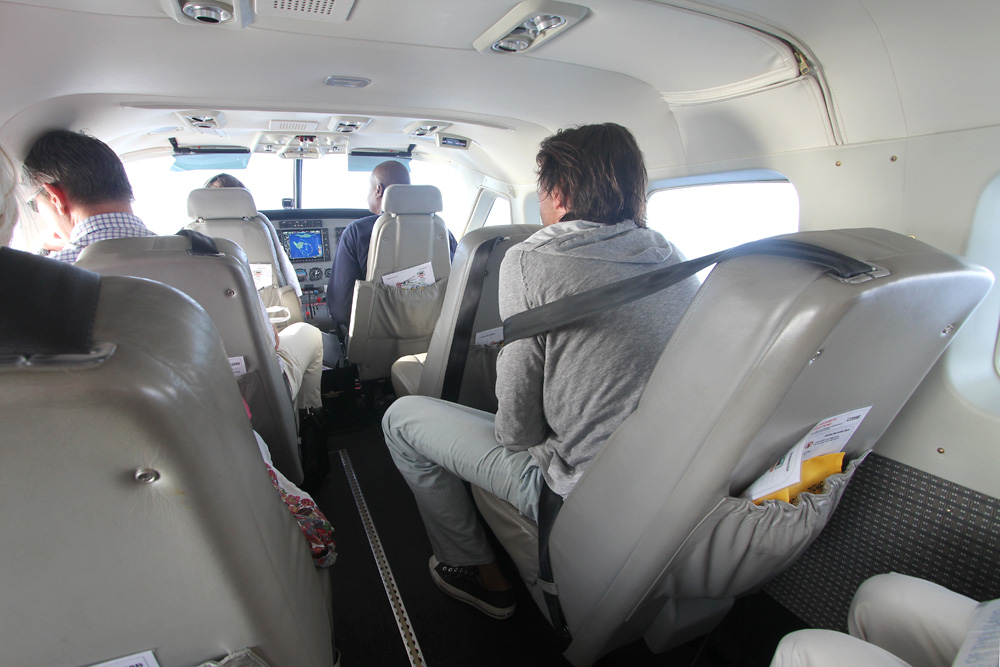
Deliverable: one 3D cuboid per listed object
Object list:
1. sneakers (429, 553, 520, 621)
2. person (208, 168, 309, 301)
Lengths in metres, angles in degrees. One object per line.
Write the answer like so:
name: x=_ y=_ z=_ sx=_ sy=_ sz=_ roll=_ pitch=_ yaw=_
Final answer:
sneakers: x=-0.100 y=1.009 z=2.658 sx=0.380 sy=0.150 sz=0.145 roll=29 pitch=23 yaw=17
person: x=-2.002 y=-0.807 z=5.066 sx=0.876 sy=0.867 sz=0.343 roll=13 pitch=15 yaw=21
